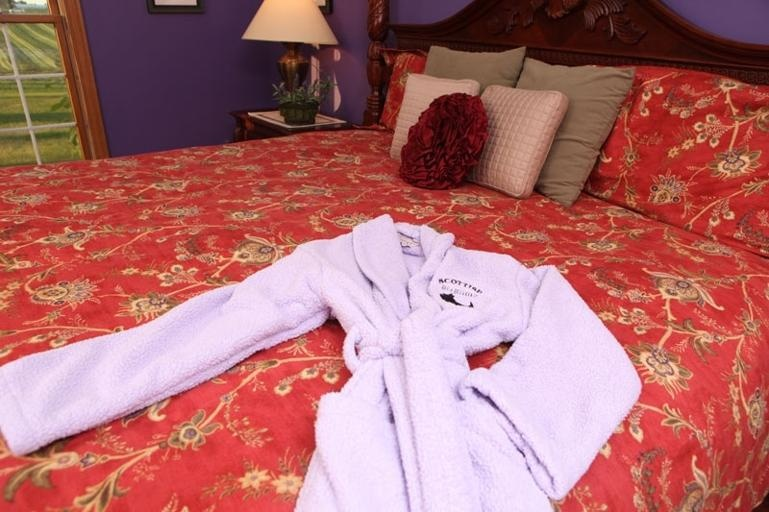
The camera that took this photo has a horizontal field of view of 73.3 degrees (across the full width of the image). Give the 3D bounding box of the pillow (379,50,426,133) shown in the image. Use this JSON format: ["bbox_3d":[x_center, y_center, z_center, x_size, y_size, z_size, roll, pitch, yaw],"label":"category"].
[{"bbox_3d":[0.088,-0.883,2.890,0.124,0.459,0.445,11,66,-8],"label":"pillow"}]

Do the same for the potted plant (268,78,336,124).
[{"bbox_3d":[-0.545,-0.988,3.481,0.479,0.322,0.468,-10,29,-23],"label":"potted plant"}]

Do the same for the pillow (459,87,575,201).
[{"bbox_3d":[0.544,-0.412,2.006,0.126,0.408,0.409,13,8,-36],"label":"pillow"}]
